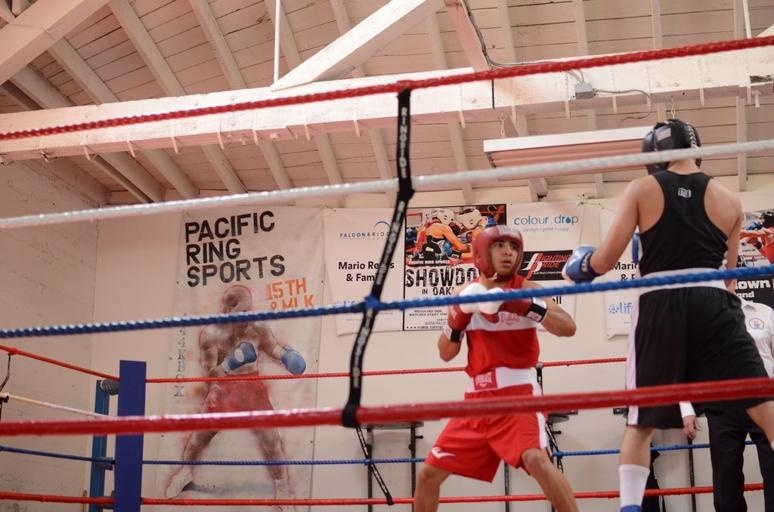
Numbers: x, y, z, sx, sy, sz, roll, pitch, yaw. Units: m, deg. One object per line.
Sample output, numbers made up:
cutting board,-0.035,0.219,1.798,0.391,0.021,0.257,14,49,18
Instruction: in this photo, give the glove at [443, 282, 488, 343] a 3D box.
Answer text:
glove,0.411,0.303,4.167,0.118,0.287,0.297,15,-5,-27

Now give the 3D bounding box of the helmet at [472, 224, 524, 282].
helmet,0.568,-0.016,4.372,0.259,0.298,0.327,8,-24,-22

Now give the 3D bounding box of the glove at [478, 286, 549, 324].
glove,0.703,0.280,4.140,0.375,0.141,0.216,8,-16,-13

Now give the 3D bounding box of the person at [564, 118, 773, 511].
person,1.438,0.259,3.891,0.881,1.996,0.441,-5,-19,14
